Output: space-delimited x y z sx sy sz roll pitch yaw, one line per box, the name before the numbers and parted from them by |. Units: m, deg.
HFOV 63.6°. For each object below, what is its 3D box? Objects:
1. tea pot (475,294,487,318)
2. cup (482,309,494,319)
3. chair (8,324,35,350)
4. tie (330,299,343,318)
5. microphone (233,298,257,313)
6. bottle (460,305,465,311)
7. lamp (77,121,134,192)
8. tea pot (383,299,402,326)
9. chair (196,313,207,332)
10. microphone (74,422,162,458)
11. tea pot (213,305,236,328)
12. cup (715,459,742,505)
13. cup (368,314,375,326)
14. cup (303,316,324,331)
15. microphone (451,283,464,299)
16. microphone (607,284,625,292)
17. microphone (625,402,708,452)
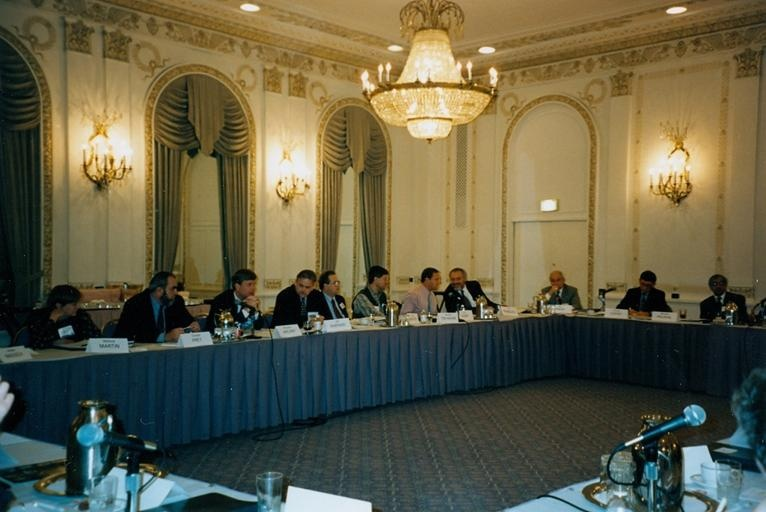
tea pot | 1.241 0.654 7.826 0.202 0.334 0.205 -1 -2 0
cup | 1.330 0.729 7.858 0.194 0.139 0.105 0 3 -37
chair | -3.424 0.757 5.828 0.293 0.184 0.145 6 10 35
tie | -0.553 0.641 7.507 0.125 0.227 0.054 -12 -5 -20
microphone | -1.464 0.533 6.601 0.194 0.099 0.153 -5 -10 24
bottle | 1.039 0.681 8.133 0.058 0.062 0.110 1 -6 2
lamp | -3.617 -1.296 8.065 0.593 0.885 0.218 -3 9 -23
tea pot | 0.096 0.660 7.197 0.234 0.297 0.203 -1 2 -3
chair | -2.024 0.741 6.861 0.117 0.224 0.119 0 -2 23
microphone | -1.282 0.899 3.076 0.405 0.164 0.237 19 -20 -12
tea pot | -1.583 0.607 6.135 0.182 0.184 0.186 -3 -1 0
cup | 1.904 1.222 3.375 0.161 0.209 0.095 -4 9 -31
cup | -0.142 0.750 7.231 0.070 0.135 0.073 2 7 0
cup | -0.746 0.724 6.616 0.139 0.142 0.192 0 -5 7
microphone | 1.016 0.474 8.492 0.141 0.205 0.083 -5 -1 7
microphone | 3.577 0.497 9.508 0.185 0.096 0.242 -3 -6 30
microphone | 1.380 0.832 3.037 0.336 0.296 0.268 4 9 24
